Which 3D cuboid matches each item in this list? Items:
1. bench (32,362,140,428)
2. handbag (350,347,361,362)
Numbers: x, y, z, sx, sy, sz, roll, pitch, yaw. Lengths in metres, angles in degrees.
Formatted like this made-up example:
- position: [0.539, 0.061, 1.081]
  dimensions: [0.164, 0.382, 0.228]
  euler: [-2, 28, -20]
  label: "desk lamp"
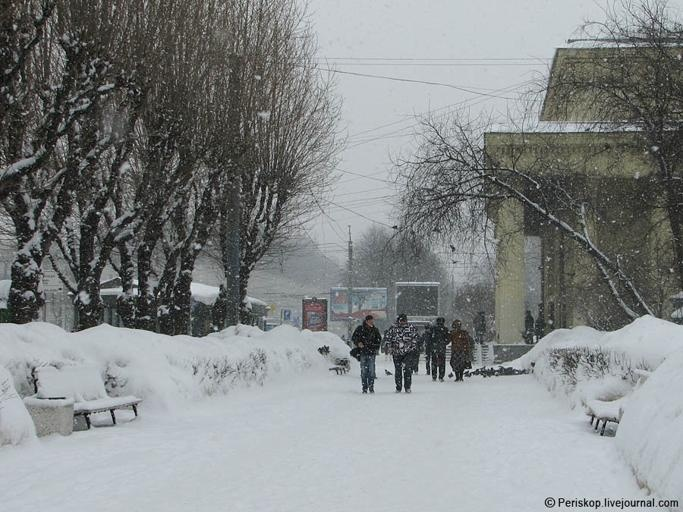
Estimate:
- position: [-4.661, 2.488, 16.975]
  dimensions: [1.160, 1.178, 1.990]
  euler: [5, 6, 41]
  label: "bench"
- position: [0.373, 2.301, 22.302]
  dimensions: [0.270, 0.444, 0.158]
  euler: [-7, -2, 32]
  label: "handbag"
